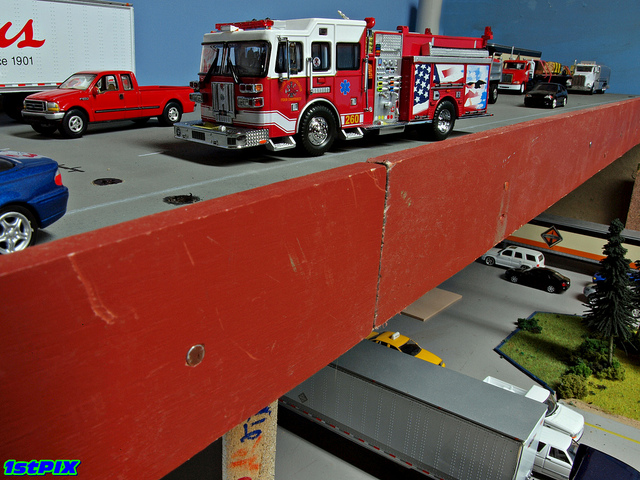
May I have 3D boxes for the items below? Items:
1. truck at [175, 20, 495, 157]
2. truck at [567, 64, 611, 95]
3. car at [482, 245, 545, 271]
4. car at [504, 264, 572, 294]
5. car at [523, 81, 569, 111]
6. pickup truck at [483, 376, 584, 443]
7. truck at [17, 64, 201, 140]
[{"bbox_3d":[0.876,-4.571,12.242,10.140,3.156,3.193,-15,28,-31],"label":"truck"},{"bbox_3d":[19.110,-11.395,30.220,3.841,1.963,1.945,-20,27,-36],"label":"truck"},{"bbox_3d":[10.963,1.078,23.790,1.213,1.094,2.411,-19,31,-39],"label":"car"},{"bbox_3d":[11.408,1.983,21.878,2.821,1.005,1.357,23,32,38],"label":"car"},{"bbox_3d":[11.678,-7.314,21.519,1.483,1.213,3.418,18,26,32],"label":"car"},{"bbox_3d":[6.689,5.401,13.383,1.380,1.431,3.061,-8,14,-43],"label":"pickup truck"},{"bbox_3d":[-7.828,-5.168,15.432,4.874,2.069,7.256,12,27,22],"label":"truck"}]
